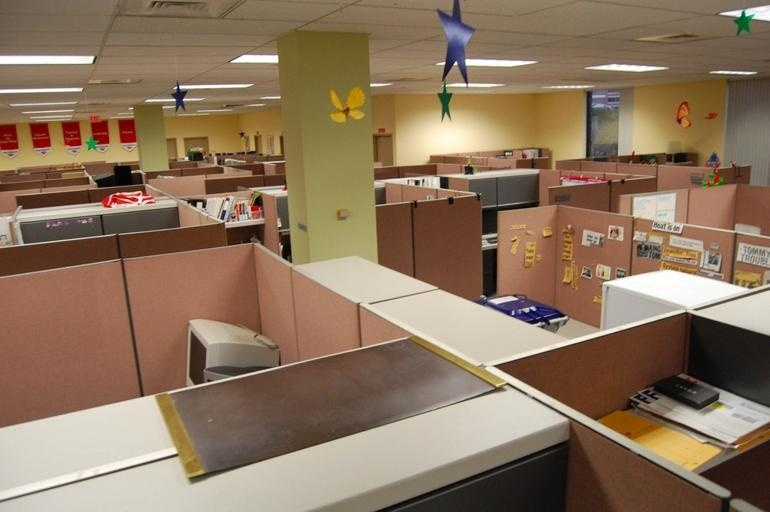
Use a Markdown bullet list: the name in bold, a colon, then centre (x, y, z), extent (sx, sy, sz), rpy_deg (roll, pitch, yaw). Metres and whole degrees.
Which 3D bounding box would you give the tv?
- **tv**: centre (-0.800, 0.475, 2.752), extent (0.400, 0.294, 0.390), rpy_deg (-8, 14, -38)
